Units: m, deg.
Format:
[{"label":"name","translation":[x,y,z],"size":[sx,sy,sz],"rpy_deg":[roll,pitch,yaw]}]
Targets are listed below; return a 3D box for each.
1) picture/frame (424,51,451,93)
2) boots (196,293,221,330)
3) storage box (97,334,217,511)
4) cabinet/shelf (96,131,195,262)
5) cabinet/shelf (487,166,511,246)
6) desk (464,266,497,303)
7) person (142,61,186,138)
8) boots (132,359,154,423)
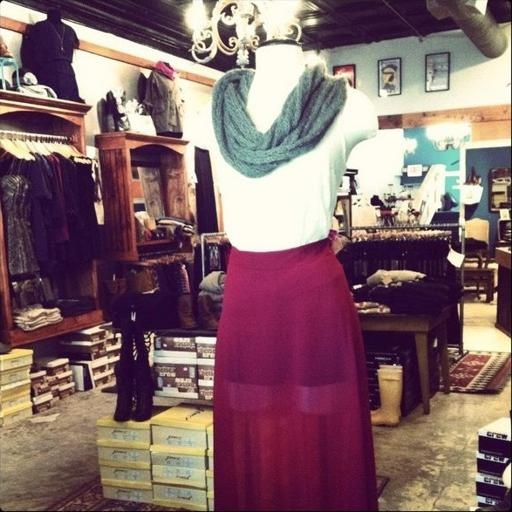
[{"label":"picture/frame","translation":[3.053,-3.122,7.924],"size":[0.383,0.707,0.016],"rpy_deg":[0,-11,14]},{"label":"boots","translation":[-0.249,0.316,2.557],"size":[0.087,0.215,0.217],"rpy_deg":[-13,-4,-2]},{"label":"storage box","translation":[-0.370,0.746,2.393],"size":[0.662,0.709,0.692],"rpy_deg":[-1,-2,14]},{"label":"cabinet/shelf","translation":[-1.151,-0.607,4.802],"size":[0.398,1.308,1.274],"rpy_deg":[0,4,19]},{"label":"cabinet/shelf","translation":[4.783,-0.998,9.245],"size":[0.386,1.473,0.576],"rpy_deg":[0,4,27]},{"label":"desk","translation":[3.365,0.423,7.043],"size":[0.477,0.264,0.359],"rpy_deg":[4,8,36]},{"label":"person","translation":[-0.989,-1.712,5.086],"size":[0.173,0.782,0.487],"rpy_deg":[2,5,43]},{"label":"boots","translation":[-0.550,0.649,2.227],"size":[0.112,0.267,0.371],"rpy_deg":[-2,9,-14]}]
